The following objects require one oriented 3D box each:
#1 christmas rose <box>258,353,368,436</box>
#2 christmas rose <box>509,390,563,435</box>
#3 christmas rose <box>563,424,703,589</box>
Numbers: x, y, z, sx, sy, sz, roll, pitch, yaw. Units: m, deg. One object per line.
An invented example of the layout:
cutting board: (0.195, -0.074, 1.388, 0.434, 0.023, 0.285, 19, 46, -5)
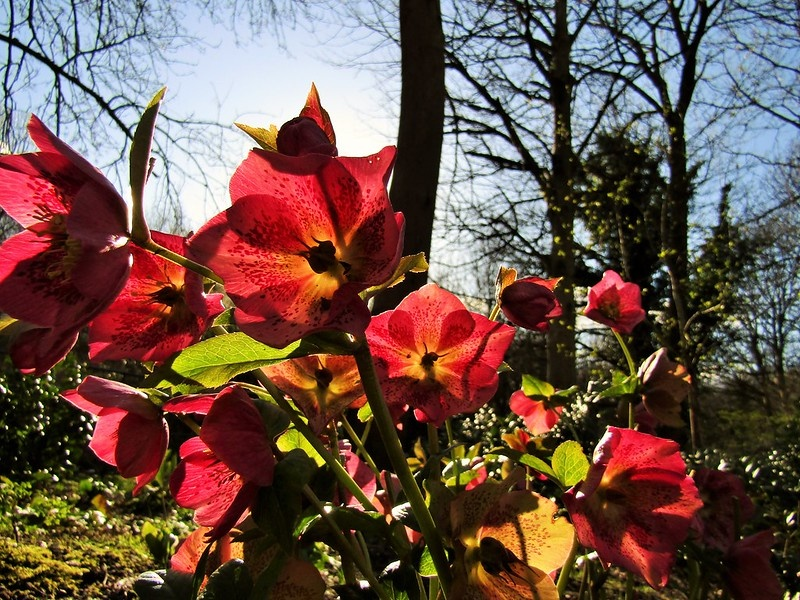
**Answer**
christmas rose: (-0.142, 0.148, 1.079, 0.145, 0.126, 0.074, -19, -34, -30)
christmas rose: (0.333, 0.279, 1.643, 0.121, 0.099, 0.211, 3, -10, 11)
christmas rose: (0.375, 0.334, 1.087, 0.234, 0.240, 0.088, 10, -11, -25)
